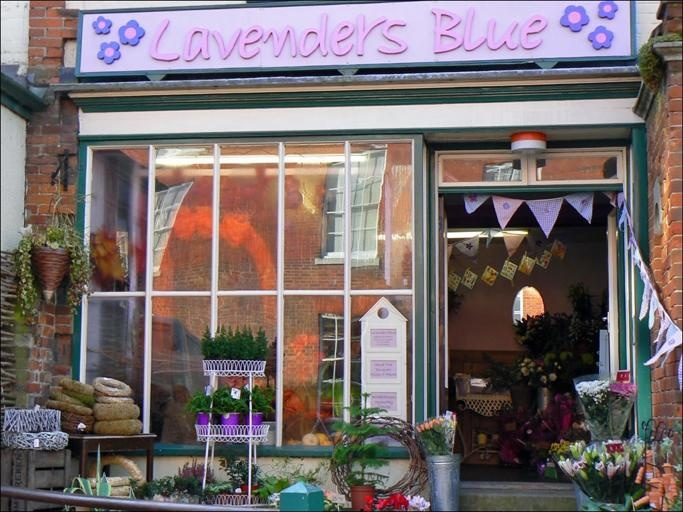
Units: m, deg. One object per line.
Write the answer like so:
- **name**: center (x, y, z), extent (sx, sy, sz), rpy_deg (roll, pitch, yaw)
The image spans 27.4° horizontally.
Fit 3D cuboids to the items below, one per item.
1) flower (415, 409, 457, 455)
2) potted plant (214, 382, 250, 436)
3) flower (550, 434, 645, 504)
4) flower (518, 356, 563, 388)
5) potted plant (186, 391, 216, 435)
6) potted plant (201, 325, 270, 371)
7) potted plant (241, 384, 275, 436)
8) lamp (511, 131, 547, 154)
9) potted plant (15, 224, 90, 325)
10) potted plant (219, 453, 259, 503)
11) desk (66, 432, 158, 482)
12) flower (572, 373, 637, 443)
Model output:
- **flower**: center (0.981, 1.811, 14.534), extent (0.396, 0.435, 0.372), rpy_deg (-3, -5, 4)
- **potted plant**: center (-1.154, 1.586, 14.435), extent (0.414, 0.450, 0.428), rpy_deg (4, -13, -25)
- **flower**: center (2.494, 2.036, 13.501), extent (0.630, 0.482, 0.648), rpy_deg (2, -10, -5)
- **flower**: center (2.484, 1.431, 17.552), extent (0.420, 0.260, 0.420), rpy_deg (-4, 3, -39)
- **potted plant**: center (-1.433, 1.582, 14.435), extent (0.336, 0.369, 0.347), rpy_deg (8, -14, -39)
- **potted plant**: center (-1.106, 0.955, 14.588), extent (0.548, 0.377, 0.470), rpy_deg (0, -13, 3)
- **potted plant**: center (-0.928, 1.611, 14.662), extent (0.313, 0.328, 0.297), rpy_deg (2, -14, 0)
- **lamp**: center (2.003, -1.226, 15.237), extent (0.252, 0.137, 0.253), rpy_deg (4, -5, -31)
- **potted plant**: center (-3.184, 0.126, 15.146), extent (0.691, 0.910, 0.620), rpy_deg (-2, -1, -18)
- **potted plant**: center (-1.057, 2.323, 14.633), extent (0.397, 0.552, 0.411), rpy_deg (2, -8, -14)
- **desk**: center (-2.370, 2.198, 14.889), extent (0.750, 0.725, 0.601), rpy_deg (0, 3, -4)
- **flower**: center (2.719, 1.562, 14.295), extent (0.615, 0.729, 0.711), rpy_deg (-3, -7, 21)
